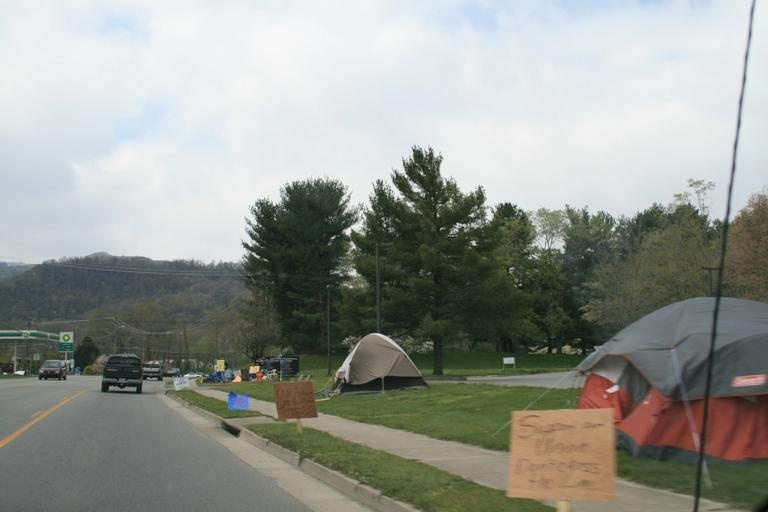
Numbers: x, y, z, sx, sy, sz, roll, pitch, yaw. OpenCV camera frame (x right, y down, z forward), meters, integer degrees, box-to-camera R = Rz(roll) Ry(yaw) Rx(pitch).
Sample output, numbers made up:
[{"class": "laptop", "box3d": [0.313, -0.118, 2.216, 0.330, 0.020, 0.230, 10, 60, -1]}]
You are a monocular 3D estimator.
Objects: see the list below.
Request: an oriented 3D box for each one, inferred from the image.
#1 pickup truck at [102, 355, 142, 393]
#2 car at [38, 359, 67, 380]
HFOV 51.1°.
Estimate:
[{"class": "pickup truck", "box3d": [-13.674, 6.167, 42.201, 1.938, 2.019, 1.767, 3, -10, -15]}, {"class": "car", "box3d": [-27.027, 9.213, 65.997, 1.665, 1.545, 3.098, 0, -17, -9]}]
